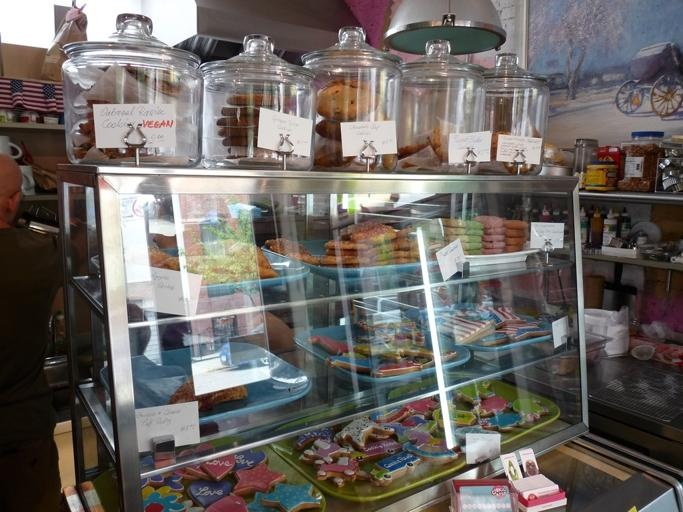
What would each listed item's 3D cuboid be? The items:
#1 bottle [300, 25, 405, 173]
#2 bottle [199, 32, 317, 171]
[{"bbox_3d":[0.035,-0.377,1.196,0.247,0.312,0.111,-3,10,-3],"label":"bottle"},{"bbox_3d":[-0.193,-0.334,1.086,0.272,0.262,0.123,-5,10,-13],"label":"bottle"}]
